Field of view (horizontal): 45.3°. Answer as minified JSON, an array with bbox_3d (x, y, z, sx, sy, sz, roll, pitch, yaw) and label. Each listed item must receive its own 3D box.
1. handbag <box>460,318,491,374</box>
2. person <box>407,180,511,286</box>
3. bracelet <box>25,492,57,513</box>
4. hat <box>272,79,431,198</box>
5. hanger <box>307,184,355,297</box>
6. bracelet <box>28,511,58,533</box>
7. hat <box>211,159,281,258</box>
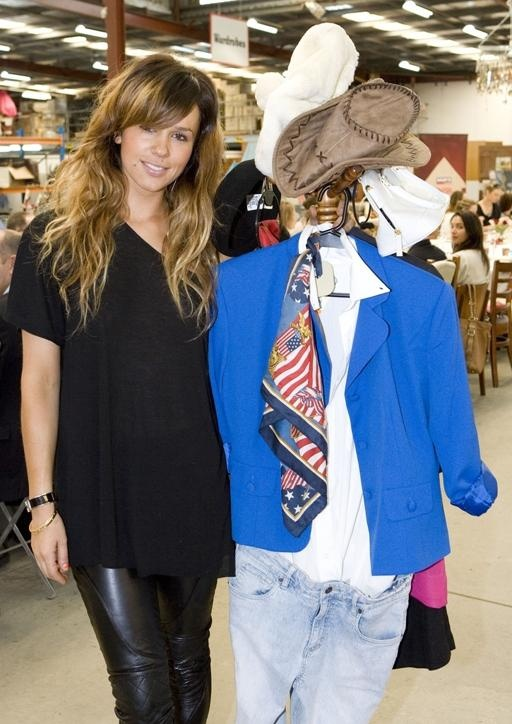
[{"bbox_3d":[1.776,-0.118,5.020,0.220,0.461,0.380,2,9,19],"label":"handbag"},{"bbox_3d":[2.168,-1.199,6.494,0.578,0.737,4.038,2,8,21],"label":"person"},{"bbox_3d":[-0.391,0.246,1.113,0.046,0.040,0.075,-4,8,-19],"label":"bracelet"},{"bbox_3d":[0.143,-0.319,0.978,0.231,0.158,0.096,-26,-2,19],"label":"hat"},{"bbox_3d":[0.122,-0.203,1.032,0.118,0.158,0.069,2,5,2],"label":"hanger"},{"bbox_3d":[-0.378,0.288,1.096,0.040,0.010,0.039,-15,33,45],"label":"bracelet"},{"bbox_3d":[-0.033,-0.311,1.400,0.182,0.234,0.085,-1,-2,-23],"label":"hat"}]
